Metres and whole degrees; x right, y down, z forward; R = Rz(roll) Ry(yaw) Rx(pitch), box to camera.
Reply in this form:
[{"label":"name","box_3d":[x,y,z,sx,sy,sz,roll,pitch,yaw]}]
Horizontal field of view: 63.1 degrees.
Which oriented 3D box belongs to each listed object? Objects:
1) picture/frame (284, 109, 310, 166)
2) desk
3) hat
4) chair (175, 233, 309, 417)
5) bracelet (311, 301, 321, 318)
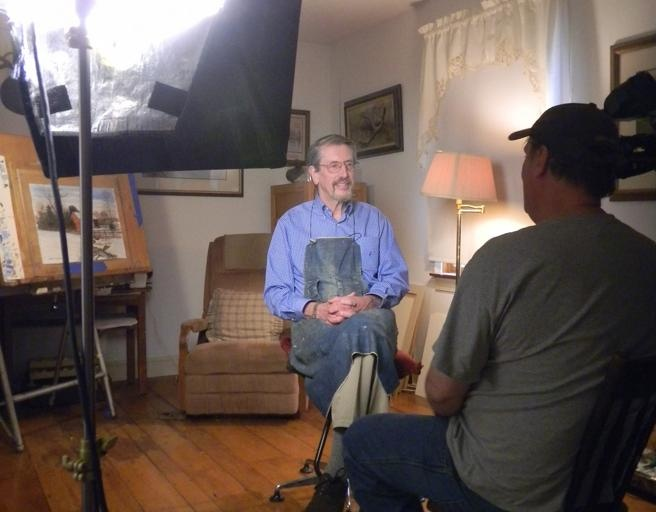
[{"label":"picture/frame","box_3d":[-0.307,-1.099,4.975,0.019,0.468,0.321,-9,16,-37]},{"label":"desk","box_3d":[-1.645,0.616,3.920,0.895,0.777,0.454,-3,5,-45]},{"label":"hat","box_3d":[0.593,-0.295,1.323,0.188,0.111,0.141,34,20,32]},{"label":"chair","box_3d":[-0.588,0.506,3.908,0.852,1.480,1.200,0,-3,-2]},{"label":"bracelet","box_3d":[-0.055,0.241,2.373,0.019,0.060,0.040,6,-7,-6]}]
